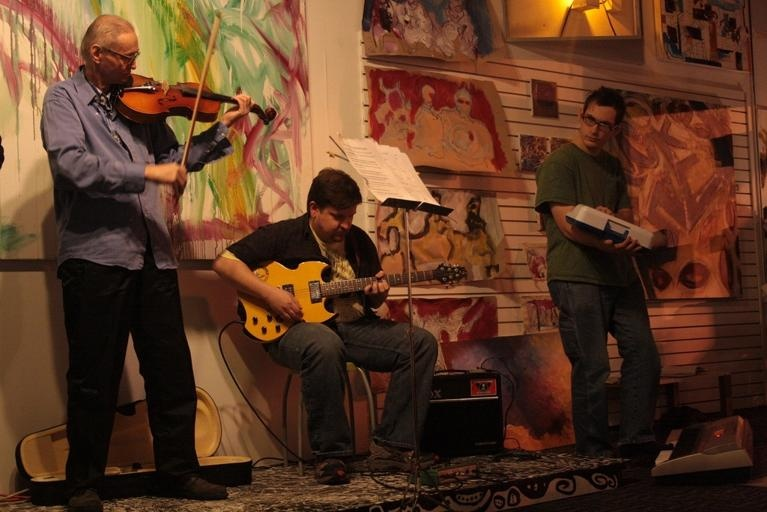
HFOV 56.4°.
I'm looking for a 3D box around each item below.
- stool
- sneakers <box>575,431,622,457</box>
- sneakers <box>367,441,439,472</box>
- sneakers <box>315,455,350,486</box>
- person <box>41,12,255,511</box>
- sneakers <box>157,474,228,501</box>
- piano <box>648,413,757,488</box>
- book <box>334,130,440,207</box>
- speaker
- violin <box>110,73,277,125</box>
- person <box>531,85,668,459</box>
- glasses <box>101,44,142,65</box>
[{"bbox_3d":[-0.445,1.059,4.819,0.458,0.704,0.432,0,-8,-12],"label":"stool"},{"bbox_3d":[1.350,1.191,4.517,0.185,0.207,0.104,-4,-42,-2],"label":"sneakers"},{"bbox_3d":[0.082,1.147,4.191,0.456,0.212,0.173,1,-4,-9],"label":"sneakers"},{"bbox_3d":[-0.277,1.194,3.995,0.206,0.123,0.085,-3,2,1],"label":"sneakers"},{"bbox_3d":[-1.315,0.016,3.767,0.845,2.553,0.555,-2,-1,-26],"label":"person"},{"bbox_3d":[-1.014,1.228,3.849,0.425,0.169,0.149,-2,-9,14],"label":"sneakers"},{"bbox_3d":[2.033,1.231,4.535,0.579,0.242,0.798,-13,-5,33],"label":"piano"},{"bbox_3d":[0.021,-0.445,3.804,0.476,0.310,0.481,-2,-1,-33],"label":"book"},{"bbox_3d":[0.455,0.984,4.732,0.569,0.621,0.471,-1,-12,1],"label":"speaker"},{"bbox_3d":[-1.149,-0.849,4.028,0.686,0.272,0.141,-2,-35,-48],"label":"violin"},{"bbox_3d":[1.378,0.083,4.619,0.706,2.124,0.412,-2,-1,-9],"label":"person"},{"bbox_3d":[-1.364,-1.041,3.683,0.179,0.077,0.043,-2,-1,-24],"label":"glasses"}]
